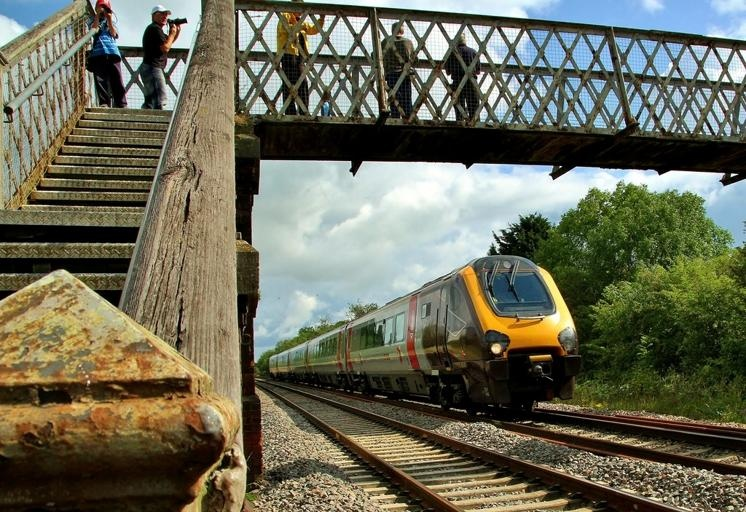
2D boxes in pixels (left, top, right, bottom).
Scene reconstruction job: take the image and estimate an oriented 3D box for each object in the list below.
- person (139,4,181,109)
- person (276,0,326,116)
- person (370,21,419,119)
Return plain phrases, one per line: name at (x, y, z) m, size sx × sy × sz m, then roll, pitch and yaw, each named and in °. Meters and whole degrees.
person at (-3.852, -3.383, 12.625) m, size 0.645 × 2.069 × 1.181 m, roll -1°, pitch -11°, yaw -19°
person at (-1.305, -3.405, 12.147) m, size 0.729 × 2.386 × 1.422 m, roll -3°, pitch -10°, yaw -9°
person at (0.426, -3.258, 12.489) m, size 0.603 × 1.772 × 0.527 m, roll -2°, pitch 34°, yaw 2°
